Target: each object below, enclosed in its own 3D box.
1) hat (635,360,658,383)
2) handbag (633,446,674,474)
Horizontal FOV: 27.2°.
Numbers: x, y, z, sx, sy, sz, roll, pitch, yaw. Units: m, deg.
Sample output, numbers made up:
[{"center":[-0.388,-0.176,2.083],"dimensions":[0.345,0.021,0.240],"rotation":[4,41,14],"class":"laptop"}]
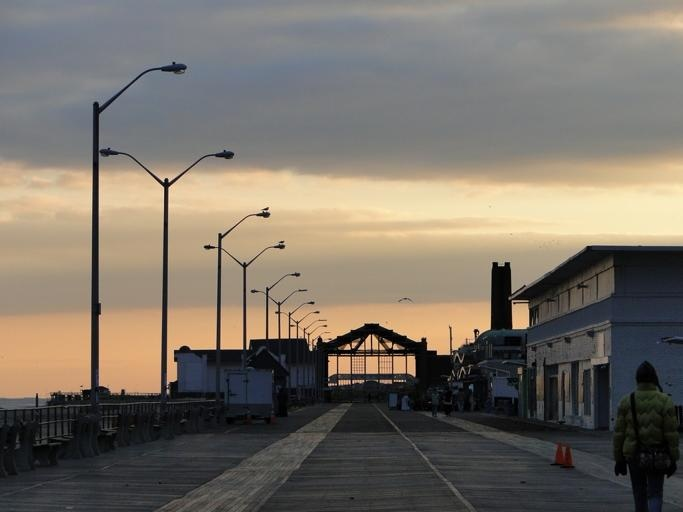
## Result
[{"center":[6.694,2.559,30.902],"dimensions":[0.366,0.423,0.570],"rotation":[-1,-1,13],"class":"hat"},{"center":[6.714,4.381,30.444],"dimensions":[0.907,0.857,0.503],"rotation":[0,-9,4],"class":"handbag"}]
